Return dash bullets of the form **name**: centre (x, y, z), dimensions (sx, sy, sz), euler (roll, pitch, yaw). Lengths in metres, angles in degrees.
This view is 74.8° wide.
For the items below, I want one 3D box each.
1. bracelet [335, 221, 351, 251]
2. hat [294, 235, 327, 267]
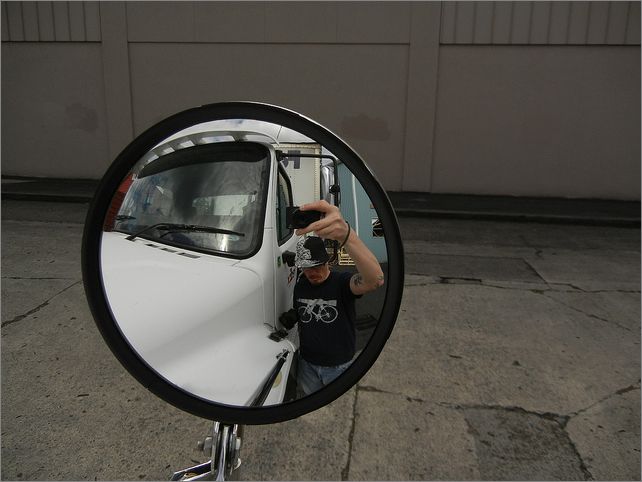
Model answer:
- **bracelet**: centre (0.077, -0.007, 1.328), dimensions (0.015, 0.067, 0.067), euler (3, 55, -21)
- **hat**: centre (-0.035, 0.024, 1.383), dimensions (0.119, 0.090, 0.161), euler (-9, 15, -11)
